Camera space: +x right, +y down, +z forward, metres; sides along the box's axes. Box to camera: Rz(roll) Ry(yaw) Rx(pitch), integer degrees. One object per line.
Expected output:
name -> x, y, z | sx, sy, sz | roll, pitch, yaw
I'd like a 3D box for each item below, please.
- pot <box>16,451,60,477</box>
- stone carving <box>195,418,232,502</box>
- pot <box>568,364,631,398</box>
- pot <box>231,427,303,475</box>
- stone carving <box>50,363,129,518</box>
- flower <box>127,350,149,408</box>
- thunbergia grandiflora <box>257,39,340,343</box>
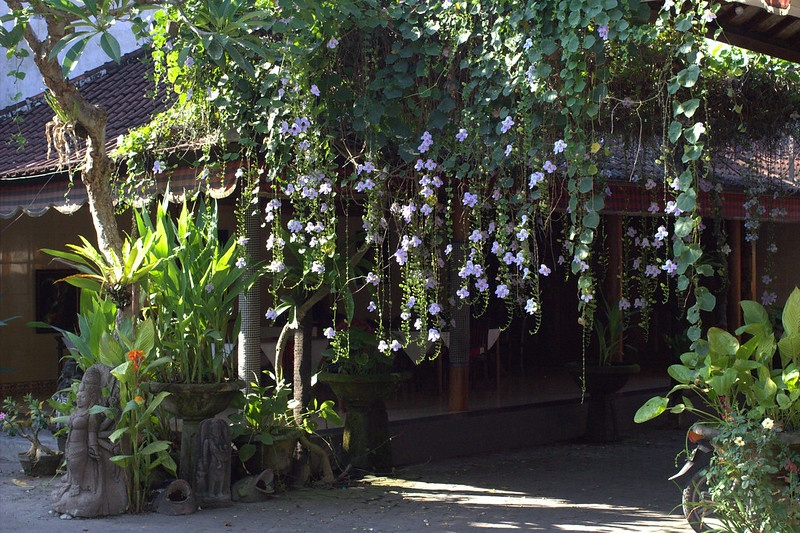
pot -> -3.240, 1.778, 7.342 | 0.246, 0.127, 0.262 | 0, -10, 0
stone carving -> -1.509, 1.559, 6.632 | 0.292, 0.678, 0.213 | 0, 6, -18
pot -> 2.244, 1.256, 9.225 | 0.870, 0.378, 0.962 | 0, -1, 4
pot -> -1.111, 1.581, 7.018 | 0.400, 0.245, 0.401 | -2, -10, 0
stone carving -> -2.399, 1.356, 6.390 | 0.458, 1.112, 0.375 | -3, 7, -42
flower -> -2.083, 0.845, 6.488 | 0.135, 0.390, 0.334 | 0, 6, -19
thunbergia grandiflora -> -0.837, -0.606, 6.874 | 0.627, 2.377, 1.173 | 1, 5, -9
